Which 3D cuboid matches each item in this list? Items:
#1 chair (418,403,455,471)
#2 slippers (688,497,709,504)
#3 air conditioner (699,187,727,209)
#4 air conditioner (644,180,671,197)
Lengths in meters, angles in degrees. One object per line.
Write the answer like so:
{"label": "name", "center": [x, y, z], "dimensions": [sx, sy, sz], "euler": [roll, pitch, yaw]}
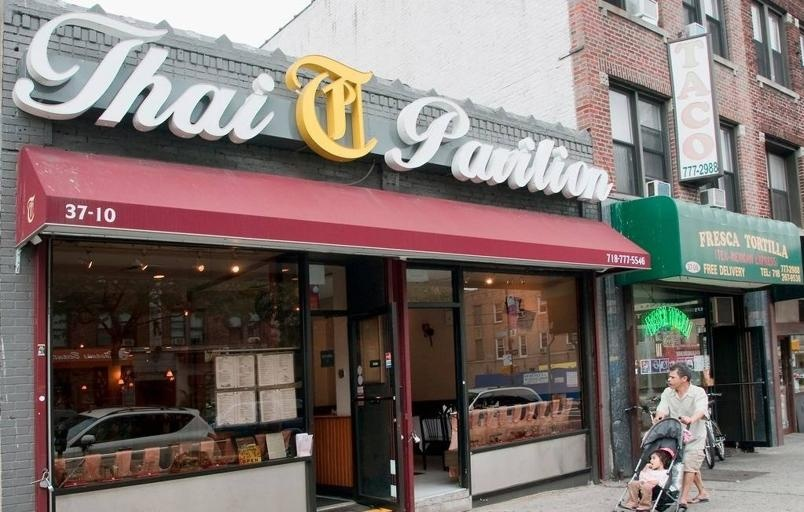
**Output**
{"label": "chair", "center": [0.671, 3.665, 16.265], "dimensions": [0.778, 1.215, 1.463], "euler": [-3, -10, -2]}
{"label": "slippers", "center": [5.010, 4.110, 13.364], "dimensions": [0.333, 0.081, 0.129], "euler": [4, -13, -14]}
{"label": "air conditioner", "center": [6.830, -1.297, 17.500], "dimensions": [0.480, 0.446, 0.487], "euler": [-8, -10, 42]}
{"label": "air conditioner", "center": [5.371, -1.407, 16.710], "dimensions": [0.523, 0.347, 0.259], "euler": [3, -6, -39]}
